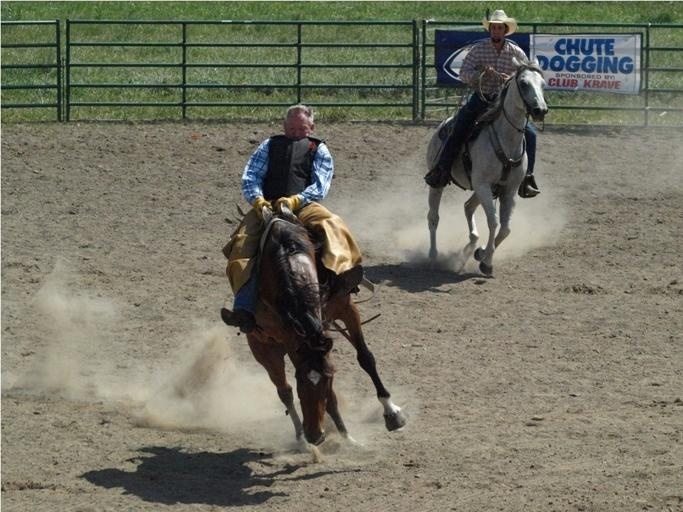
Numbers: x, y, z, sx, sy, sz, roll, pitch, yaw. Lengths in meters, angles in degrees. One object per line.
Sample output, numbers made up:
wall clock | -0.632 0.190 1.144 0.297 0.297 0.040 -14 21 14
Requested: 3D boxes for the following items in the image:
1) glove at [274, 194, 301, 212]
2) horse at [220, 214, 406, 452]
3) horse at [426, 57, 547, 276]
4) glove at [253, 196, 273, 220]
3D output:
glove | -0.685 -0.645 15.249 0.190 0.206 0.356 9 17 38
horse | -0.345 0.944 15.057 1.440 2.957 1.588 -13 17 -39
horse | 2.246 -1.374 18.753 1.108 3.256 2.412 -8 15 -26
glove | -0.991 -0.601 15.166 0.203 0.275 0.091 -11 3 13
